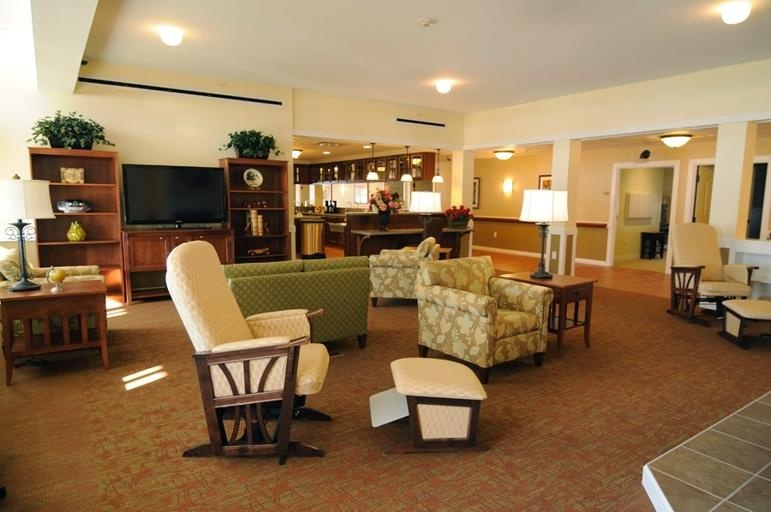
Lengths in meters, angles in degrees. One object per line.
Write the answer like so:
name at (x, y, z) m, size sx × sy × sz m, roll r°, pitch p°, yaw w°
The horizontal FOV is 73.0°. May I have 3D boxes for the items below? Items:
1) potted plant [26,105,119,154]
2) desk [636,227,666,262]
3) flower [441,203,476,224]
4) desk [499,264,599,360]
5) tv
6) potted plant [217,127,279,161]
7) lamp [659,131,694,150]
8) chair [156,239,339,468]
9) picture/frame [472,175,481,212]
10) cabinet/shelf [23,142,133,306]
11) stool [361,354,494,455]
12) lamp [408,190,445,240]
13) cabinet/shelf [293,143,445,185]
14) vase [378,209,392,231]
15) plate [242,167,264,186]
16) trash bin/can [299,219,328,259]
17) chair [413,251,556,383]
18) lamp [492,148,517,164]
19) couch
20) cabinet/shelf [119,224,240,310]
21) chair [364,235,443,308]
potted plant at (-4.432, -1.719, 7.274) m, size 0.858 × 0.472 × 1.049 m, roll -1°, pitch 7°, yaw -40°
desk at (6.479, -0.290, 12.493) m, size 1.017 × 0.668 × 0.565 m, roll -7°, pitch 9°, yaw -40°
flower at (1.401, -0.839, 10.186) m, size 0.429 × 0.272 × 0.400 m, roll 0°, pitch 1°, yaw -10°
desk at (2.114, 0.489, 6.378) m, size 0.963 × 0.984 × 1.263 m, roll -4°, pitch 8°, yaw -26°
tv at (-3.242, -0.914, 7.800) m, size 1.145 × 0.722 × 0.153 m, roll -2°, pitch 13°, yaw -23°
potted plant at (-2.172, -1.803, 8.358) m, size 0.928 × 0.503 × 0.505 m, roll -3°, pitch 7°, yaw -16°
lamp at (5.064, -2.053, 9.170) m, size 0.437 × 0.189 × 0.414 m, roll 0°, pitch 4°, yaw 1°
chair at (-1.130, 0.771, 4.378) m, size 1.160 × 1.795 × 0.598 m, roll -2°, pitch 7°, yaw -2°
picture/frame at (2.467, -1.732, 14.092) m, size 0.077 × 0.896 × 0.287 m, roll -6°, pitch 9°, yaw -32°
cabinet/shelf at (-4.442, -0.668, 7.460) m, size 1.106 × 1.975 × 0.366 m, roll -8°, pitch -20°, yaw -24°
stool at (0.305, 1.395, 4.568) m, size 1.047 × 0.547 × 0.835 m, roll 9°, pitch -16°, yaw -31°
lamp at (0.780, -0.742, 8.542) m, size 0.814 × 0.982 × 0.821 m, roll 1°, pitch 3°, yaw 4°
cabinet/shelf at (-0.891, -2.356, 14.168) m, size 0.686 × 0.772 × 5.870 m, roll -7°, pitch 8°, yaw -37°
vase at (-0.022, -0.682, 9.461) m, size 0.356 × 0.378 × 0.325 m, roll 2°, pitch 14°, yaw 2°
plate at (-2.163, -1.281, 8.470) m, size 0.267 × 0.310 × 0.154 m, roll -6°, pitch 9°, yaw -33°
trash bin/can at (-1.814, -0.383, 11.624) m, size 0.853 × 0.801 × 0.811 m, roll -1°, pitch 4°, yaw -2°
chair at (1.059, 0.581, 5.676) m, size 1.174 × 0.921 × 1.212 m, roll 9°, pitch 10°, yaw 40°
lamp at (2.528, -2.207, 11.267) m, size 0.515 × 0.179 × 0.487 m, roll -1°, pitch 5°, yaw -4°
couch at (-1.157, 0.515, 6.012) m, size 1.633 × 1.053 × 0.906 m, roll -3°, pitch 10°, yaw -35°
cabinet/shelf at (-3.162, 0.142, 7.876) m, size 1.495 × 1.021 × 0.447 m, roll -3°, pitch 6°, yaw -28°
chair at (0.252, 0.151, 7.844) m, size 1.269 × 0.789 × 1.220 m, roll -11°, pitch 11°, yaw -39°
